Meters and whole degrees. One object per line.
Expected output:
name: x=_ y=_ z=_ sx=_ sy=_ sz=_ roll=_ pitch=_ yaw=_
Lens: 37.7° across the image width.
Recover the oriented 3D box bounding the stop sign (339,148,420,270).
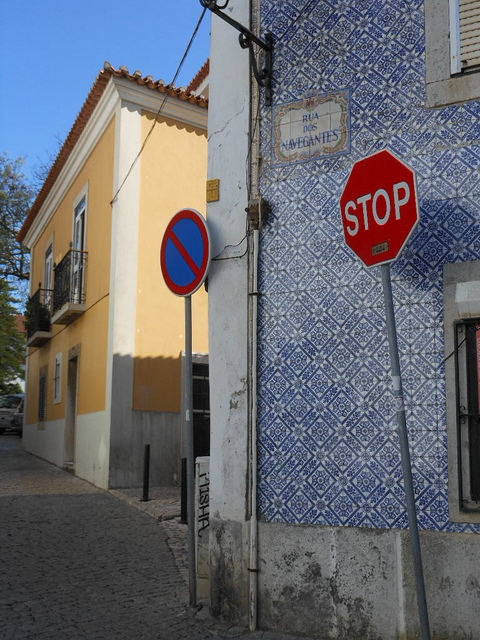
stop sign: x=0.685 y=-0.538 z=3.499 sx=0.164 sy=0.583 sz=0.537 roll=2 pitch=-5 yaw=-27
